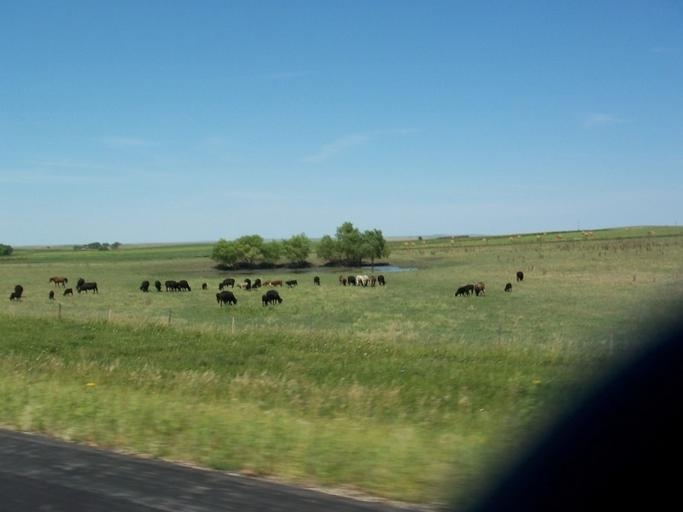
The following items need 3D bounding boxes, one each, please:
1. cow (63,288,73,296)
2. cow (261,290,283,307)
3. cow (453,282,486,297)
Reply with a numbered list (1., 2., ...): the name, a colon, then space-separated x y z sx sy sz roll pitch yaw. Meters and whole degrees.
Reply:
1. cow: -25.241 3.286 75.157 0.382 0.804 1.571 4 4 -35
2. cow: -5.512 3.255 63.604 1.426 1.069 2.674 2 12 8
3. cow: 10.597 2.694 66.687 2.856 1.421 1.025 -1 -2 -14
